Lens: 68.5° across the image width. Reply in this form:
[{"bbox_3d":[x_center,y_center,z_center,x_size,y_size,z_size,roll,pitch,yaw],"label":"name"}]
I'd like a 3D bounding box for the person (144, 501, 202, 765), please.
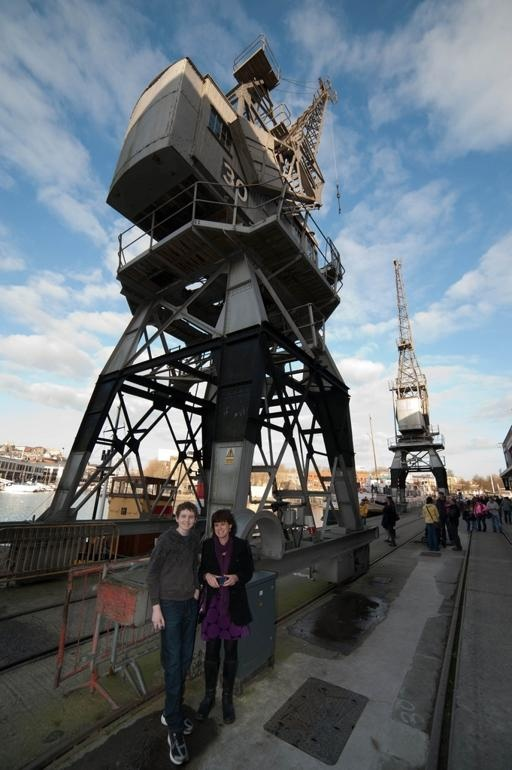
[{"bbox_3d":[-0.713,2.101,3.539,0.437,1.964,0.584,-4,-16,19],"label":"person"}]

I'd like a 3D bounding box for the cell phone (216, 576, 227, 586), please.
[{"bbox_3d":[-0.344,1.852,3.681,0.103,0.081,0.048,3,-15,-5],"label":"cell phone"}]

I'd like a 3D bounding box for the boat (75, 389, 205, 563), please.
[{"bbox_3d":[-3.646,2.681,12.295,4.562,4.396,2.880,11,-4,10],"label":"boat"}]

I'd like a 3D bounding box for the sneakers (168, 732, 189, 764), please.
[{"bbox_3d":[-0.660,2.949,3.180,0.112,0.109,0.272,21,-25,-13],"label":"sneakers"}]
